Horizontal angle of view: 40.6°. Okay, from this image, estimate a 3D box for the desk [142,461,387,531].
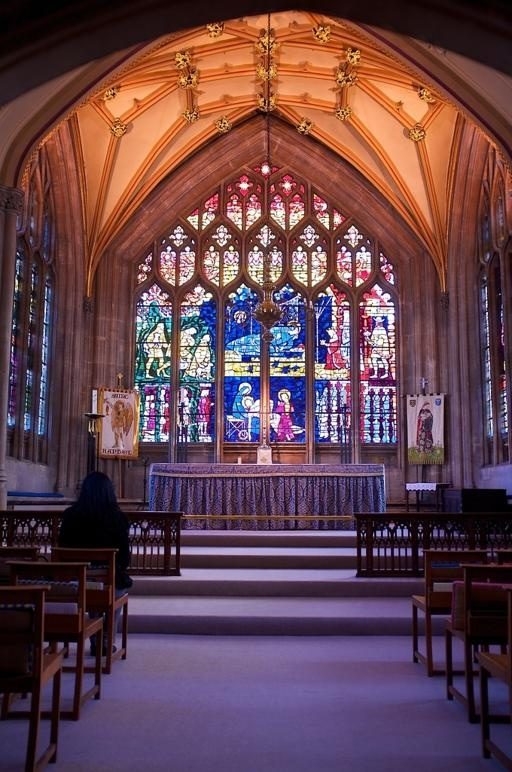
[{"bbox_3d":[0.210,1.779,11.196,3.767,1.068,0.646,2,-10,-7],"label":"desk"}]

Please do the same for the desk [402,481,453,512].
[{"bbox_3d":[3.322,2.370,13.677,0.970,0.741,0.786,-1,-18,7],"label":"desk"}]
